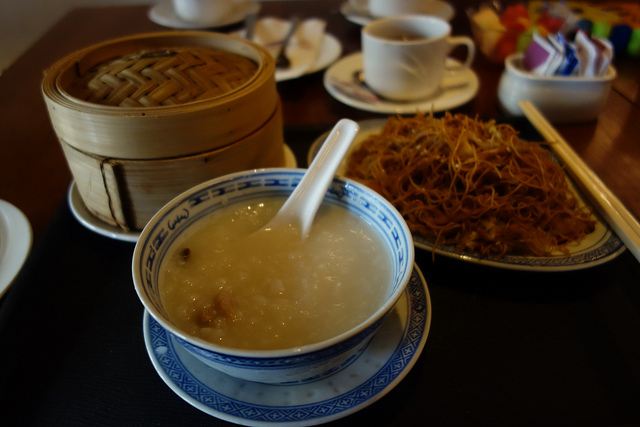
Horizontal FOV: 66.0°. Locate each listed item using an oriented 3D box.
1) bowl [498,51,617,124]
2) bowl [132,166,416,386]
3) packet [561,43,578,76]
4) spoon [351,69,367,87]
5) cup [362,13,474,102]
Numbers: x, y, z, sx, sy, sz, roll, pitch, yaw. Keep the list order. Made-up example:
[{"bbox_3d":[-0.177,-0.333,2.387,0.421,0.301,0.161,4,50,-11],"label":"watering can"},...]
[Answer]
[{"bbox_3d":[0.879,-0.473,1.867,0.312,0.138,0.237,5,34,12],"label":"bowl"},{"bbox_3d":[-0.154,0.074,1.377,0.805,0.497,0.886,0,15,-8],"label":"bowl"},{"bbox_3d":[0.906,-0.546,1.775,0.031,0.086,0.051,10,15,33],"label":"packet"},{"bbox_3d":[0.175,-0.588,2.143,0.086,0.023,0.086,15,55,18],"label":"spoon"},{"bbox_3d":[0.388,-0.609,2.068,0.445,0.277,0.336,3,45,7],"label":"cup"}]
